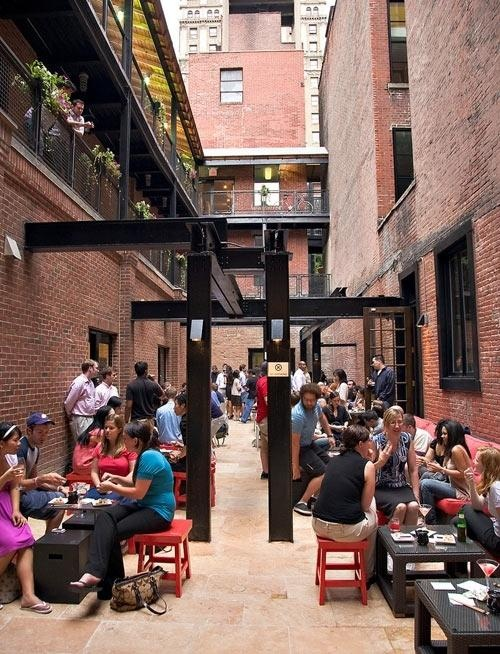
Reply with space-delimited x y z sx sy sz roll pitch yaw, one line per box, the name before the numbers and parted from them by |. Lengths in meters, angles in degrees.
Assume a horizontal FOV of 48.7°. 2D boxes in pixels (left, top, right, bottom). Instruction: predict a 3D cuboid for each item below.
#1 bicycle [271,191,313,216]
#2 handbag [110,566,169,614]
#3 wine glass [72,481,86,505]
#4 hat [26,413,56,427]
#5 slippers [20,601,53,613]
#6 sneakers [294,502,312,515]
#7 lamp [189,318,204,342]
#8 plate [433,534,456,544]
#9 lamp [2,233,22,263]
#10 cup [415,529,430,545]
bicycle | 2.111 -6.167 27.183 2.032 1.408 1.084 -1 4 6
handbag | -0.805 1.956 4.059 0.284 0.136 0.296 0 -9 34
wine glass | -1.470 1.424 4.736 0.180 0.204 0.123 1 3 -16
hat | -1.894 0.840 4.983 0.236 0.149 0.178 -3 -8 16
slippers | -1.521 2.002 3.928 0.149 0.045 0.079 1 -10 9
sneakers | 0.691 2.342 7.106 0.103 0.111 0.225 7 -15 -23
lamp | -0.592 0.038 6.171 0.151 0.252 0.156 1 -5 -7
plate | 1.470 1.619 4.189 0.160 0.042 0.273 -1 -6 19
lamp | -2.939 -0.973 6.802 0.126 0.357 0.350 -3 -9 8
cup | 1.273 1.567 4.103 0.092 0.100 0.103 -1 -6 17
